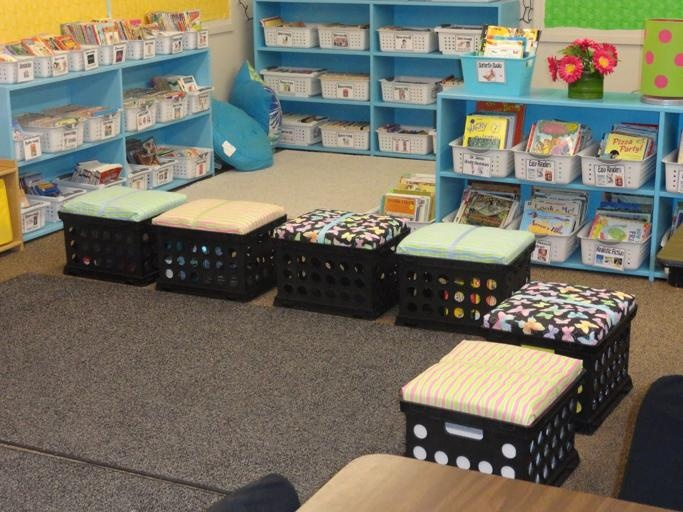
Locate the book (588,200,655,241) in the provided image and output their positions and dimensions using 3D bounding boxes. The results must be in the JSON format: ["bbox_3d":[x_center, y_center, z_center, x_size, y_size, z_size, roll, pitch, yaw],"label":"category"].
[{"bbox_3d":[1.875,-0.228,3.708,0.342,0.086,0.304,7,34,23],"label":"book"}]

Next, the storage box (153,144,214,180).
[{"bbox_3d":[-1.597,-0.976,5.682,0.558,0.166,0.350,10,21,26],"label":"storage box"}]

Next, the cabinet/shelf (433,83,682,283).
[{"bbox_3d":[1.459,-0.473,3.607,1.555,0.864,0.462,7,25,18],"label":"cabinet/shelf"}]

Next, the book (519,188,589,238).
[{"bbox_3d":[1.461,-0.297,3.804,0.389,0.106,0.402,18,30,42],"label":"book"}]

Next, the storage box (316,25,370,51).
[{"bbox_3d":[0.016,-2.513,6.356,0.504,0.183,0.340,3,24,9],"label":"storage box"}]

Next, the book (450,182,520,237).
[{"bbox_3d":[1.049,-0.339,4.009,0.431,0.122,0.389,8,39,17],"label":"book"}]

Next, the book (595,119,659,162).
[{"bbox_3d":[1.816,-0.733,3.537,0.336,0.097,0.298,8,48,22],"label":"book"}]

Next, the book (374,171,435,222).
[{"bbox_3d":[0.558,-0.451,4.170,0.361,0.144,0.452,6,22,20],"label":"book"}]

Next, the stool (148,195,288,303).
[{"bbox_3d":[-0.768,-0.101,3.691,0.789,0.476,0.712,3,16,13],"label":"stool"}]

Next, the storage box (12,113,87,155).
[{"bbox_3d":[-2.253,-0.975,4.373,0.474,0.140,0.313,13,24,28],"label":"storage box"}]

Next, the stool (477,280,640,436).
[{"bbox_3d":[1.017,0.453,2.658,0.706,0.479,0.675,11,27,34],"label":"stool"}]

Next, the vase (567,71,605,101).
[{"bbox_3d":[1.588,-1.120,3.623,0.200,0.122,0.198,10,17,41],"label":"vase"}]

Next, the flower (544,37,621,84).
[{"bbox_3d":[1.563,-1.277,3.576,0.396,0.220,0.201,8,-3,19],"label":"flower"}]

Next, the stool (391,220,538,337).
[{"bbox_3d":[0.693,0.071,3.208,0.717,0.441,0.671,8,24,27],"label":"stool"}]

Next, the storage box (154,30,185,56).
[{"bbox_3d":[-1.627,-2.033,5.264,0.281,0.147,0.254,-8,23,-20],"label":"storage box"}]

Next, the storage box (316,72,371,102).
[{"bbox_3d":[0.053,-1.974,6.430,0.507,0.184,0.352,3,21,10],"label":"storage box"}]

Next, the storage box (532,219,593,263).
[{"bbox_3d":[1.482,-0.100,3.802,0.275,0.113,0.370,11,21,36],"label":"storage box"}]

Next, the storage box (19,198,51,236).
[{"bbox_3d":[-2.366,-0.302,4.267,0.174,0.298,0.241,12,-4,-26],"label":"storage box"}]

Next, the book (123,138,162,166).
[{"bbox_3d":[-1.913,-0.999,5.371,0.327,0.280,0.105,-13,-8,-45],"label":"book"}]

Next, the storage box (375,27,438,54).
[{"bbox_3d":[0.719,-2.404,6.127,0.536,0.182,0.374,6,25,15],"label":"storage box"}]

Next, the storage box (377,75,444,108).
[{"bbox_3d":[0.779,-1.869,6.355,0.772,0.204,0.554,7,21,23],"label":"storage box"}]

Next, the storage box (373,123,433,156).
[{"bbox_3d":[0.750,-1.350,6.365,0.586,0.170,0.378,6,22,17],"label":"storage box"}]

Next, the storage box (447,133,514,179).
[{"bbox_3d":[0.962,-0.670,3.770,0.375,0.126,0.275,6,17,21],"label":"storage box"}]

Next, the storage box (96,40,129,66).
[{"bbox_3d":[-1.946,-1.748,4.746,0.090,0.229,0.254,9,-2,27],"label":"storage box"}]

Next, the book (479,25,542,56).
[{"bbox_3d":[1.118,-1.436,3.689,0.328,0.067,0.309,8,30,18],"label":"book"}]

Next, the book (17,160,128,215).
[{"bbox_3d":[-2.232,-0.589,4.616,0.449,0.179,0.598,6,17,18],"label":"book"}]

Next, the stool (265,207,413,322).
[{"bbox_3d":[0.033,0.026,3.421,0.740,0.453,0.689,9,22,26],"label":"stool"}]

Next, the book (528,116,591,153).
[{"bbox_3d":[1.426,-0.783,3.616,0.309,0.078,0.292,10,26,25],"label":"book"}]

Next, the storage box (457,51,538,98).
[{"bbox_3d":[1.044,-1.218,3.681,0.475,0.199,0.293,4,19,19],"label":"storage box"}]

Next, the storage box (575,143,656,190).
[{"bbox_3d":[1.816,-0.590,3.627,0.416,0.331,0.388,8,-3,28],"label":"storage box"}]

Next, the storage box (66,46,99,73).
[{"bbox_3d":[-2.091,-1.616,4.514,0.114,0.235,0.235,10,-3,13],"label":"storage box"}]

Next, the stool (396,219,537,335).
[{"bbox_3d":[0.687,0.097,3.208,0.716,0.457,0.671,8,24,26],"label":"stool"}]

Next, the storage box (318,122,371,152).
[{"bbox_3d":[0.060,-1.420,6.531,0.524,0.187,0.347,5,23,12],"label":"storage box"}]
